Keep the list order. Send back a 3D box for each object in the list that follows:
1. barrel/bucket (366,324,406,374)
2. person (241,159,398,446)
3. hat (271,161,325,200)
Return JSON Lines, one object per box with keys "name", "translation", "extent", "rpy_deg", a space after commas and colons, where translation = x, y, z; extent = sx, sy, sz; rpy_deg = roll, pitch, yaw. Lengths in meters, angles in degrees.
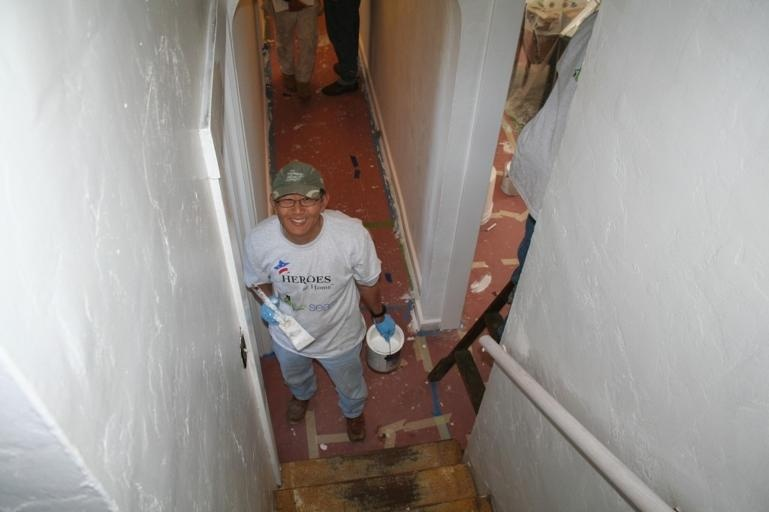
{"name": "barrel/bucket", "translation": [-0.011, 0.682, 3.709], "extent": [0.277, 0.349, 0.212], "rpy_deg": [-1, 38, -4]}
{"name": "person", "translation": [-0.382, 0.190, 2.897], "extent": [0.727, 1.506, 0.630], "rpy_deg": [0, 38, -6]}
{"name": "hat", "translation": [-0.412, -0.353, 2.389], "extent": [0.232, 0.133, 0.253], "rpy_deg": [1, 31, 3]}
